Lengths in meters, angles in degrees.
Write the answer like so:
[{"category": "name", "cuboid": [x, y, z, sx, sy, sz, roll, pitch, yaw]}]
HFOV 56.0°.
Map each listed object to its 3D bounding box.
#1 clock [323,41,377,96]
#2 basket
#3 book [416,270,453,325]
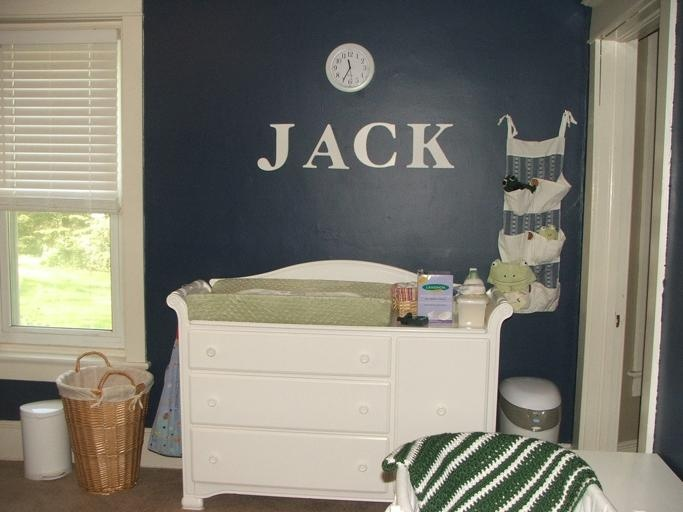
[{"category": "clock", "cuboid": [0.073, -1.131, 3.827, 0.296, 0.323, 0.022, 0, 8, 2]}, {"category": "basket", "cuboid": [-1.365, 0.967, 3.803, 0.519, 0.818, 0.408, 0, 4, -4]}, {"category": "book", "cuboid": [0.510, 0.224, 3.586, 0.272, 0.403, 0.214, 0, -1, 7]}]
